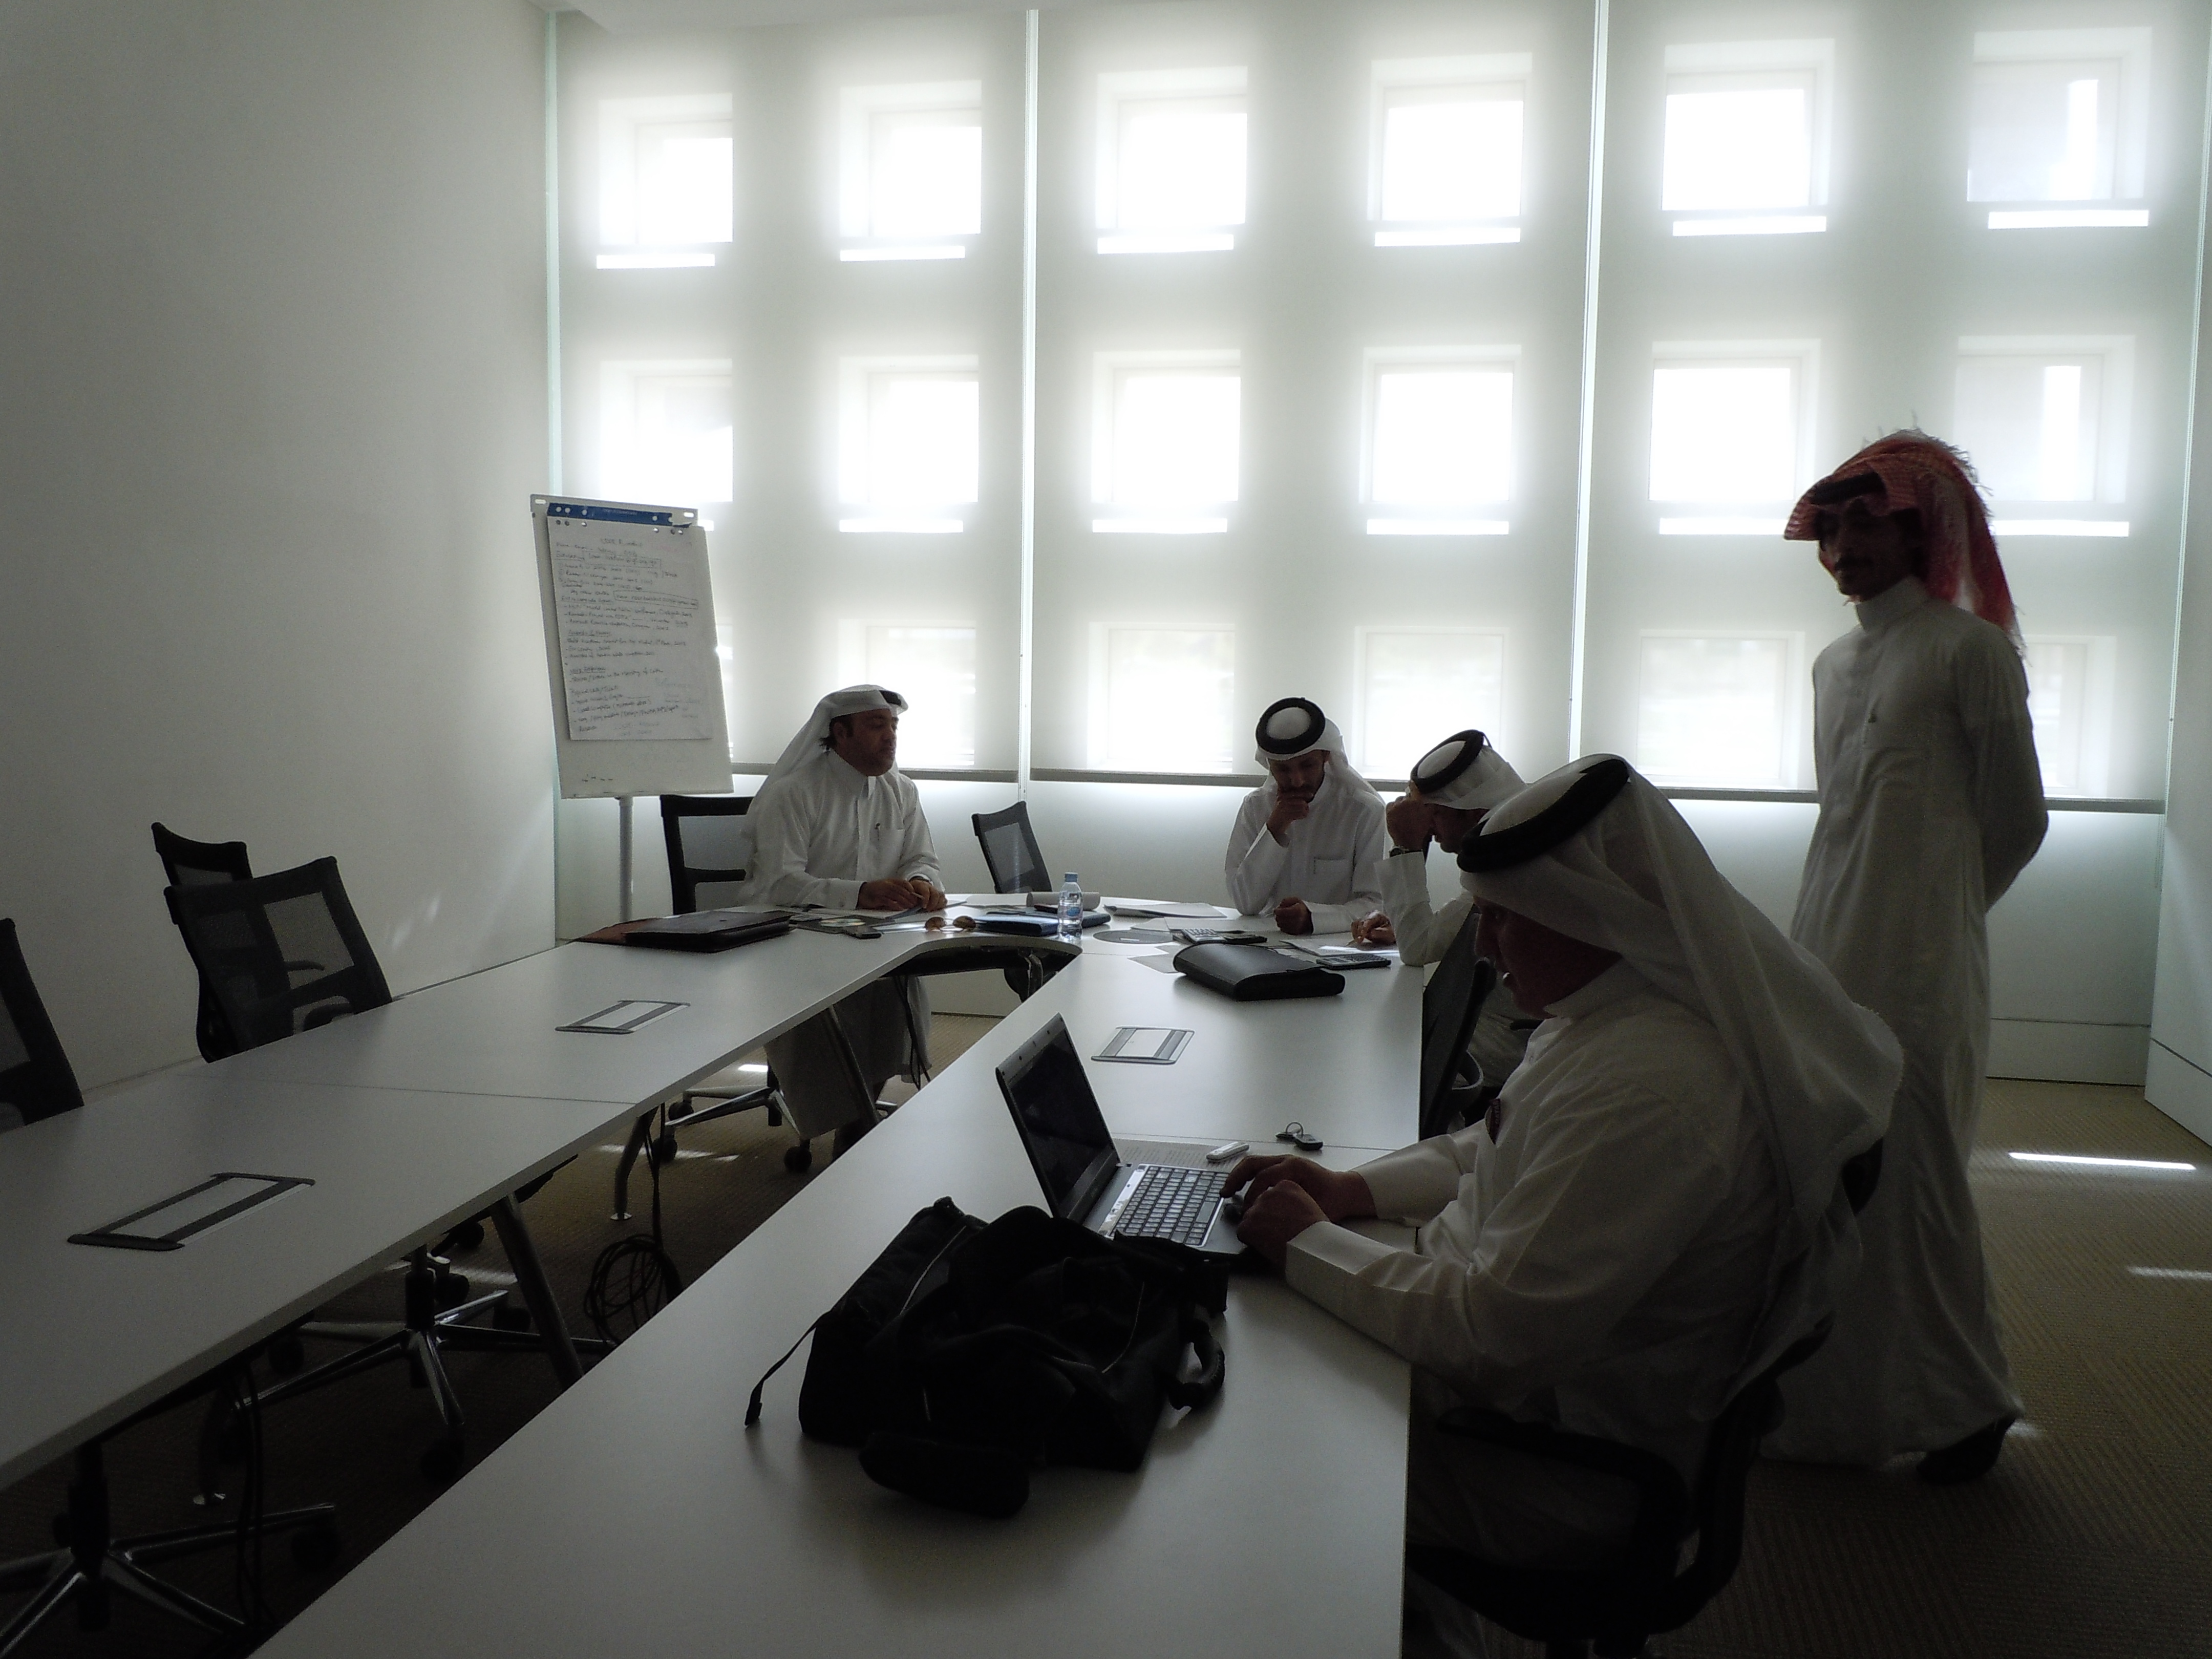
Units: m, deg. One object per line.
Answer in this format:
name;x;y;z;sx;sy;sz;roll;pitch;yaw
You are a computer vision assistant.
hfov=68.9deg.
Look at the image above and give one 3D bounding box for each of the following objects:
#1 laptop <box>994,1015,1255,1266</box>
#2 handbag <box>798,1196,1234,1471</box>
laptop;0.052;0.437;2.531;0.321;0.235;0.347;6;13;8
handbag;-0.125;0.654;2.055;0.328;0.149;0.351;1;2;14
